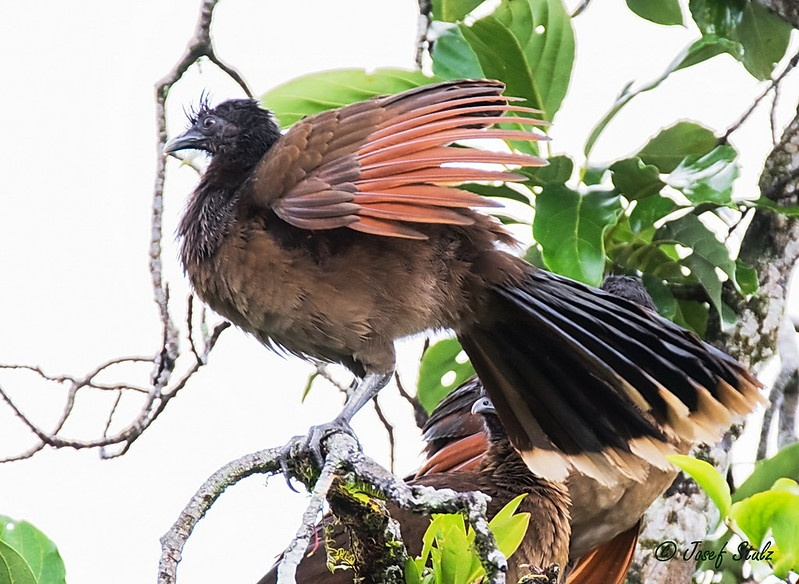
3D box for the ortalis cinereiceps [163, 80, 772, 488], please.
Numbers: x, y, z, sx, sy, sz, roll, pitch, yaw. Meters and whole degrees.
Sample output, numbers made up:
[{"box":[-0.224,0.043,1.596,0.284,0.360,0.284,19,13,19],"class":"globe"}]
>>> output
[{"box":[0.185,-0.036,3.218,1.933,1.075,0.732,2,-14,5],"class":"ortalis cinereiceps"}]
